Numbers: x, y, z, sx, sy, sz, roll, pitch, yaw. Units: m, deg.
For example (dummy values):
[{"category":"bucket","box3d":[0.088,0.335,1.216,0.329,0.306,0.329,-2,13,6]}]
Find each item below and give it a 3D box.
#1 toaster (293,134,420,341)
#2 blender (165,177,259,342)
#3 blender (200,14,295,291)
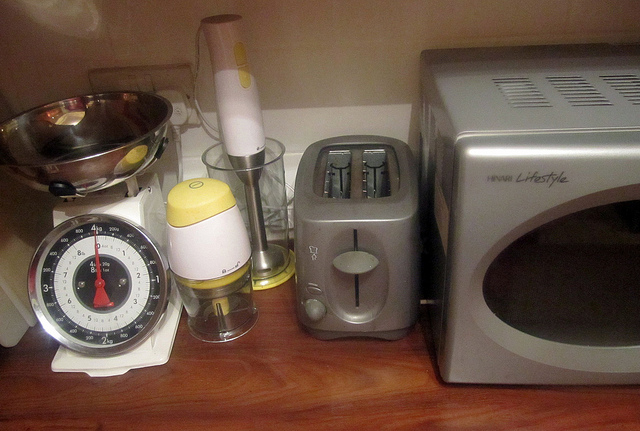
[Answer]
[{"category":"toaster","box3d":[0.077,0.038,1.023,0.233,0.261,0.338,0,38,8]},{"category":"blender","box3d":[-0.207,0.083,0.961,0.155,0.295,0.143,-14,38,-10]},{"category":"blender","box3d":[-0.149,-0.121,1.042,0.195,0.529,0.208,2,27,12]}]
